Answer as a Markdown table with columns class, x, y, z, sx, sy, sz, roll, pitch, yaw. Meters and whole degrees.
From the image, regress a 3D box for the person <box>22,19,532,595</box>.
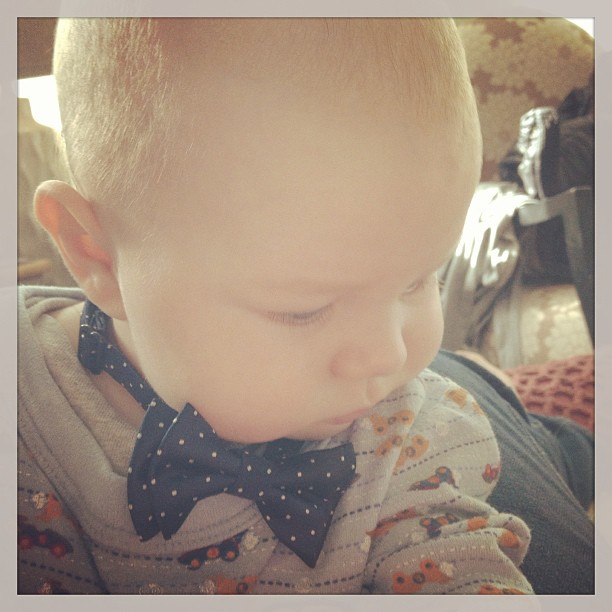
| class | x | y | z | sx | sy | sz | roll | pitch | yaw |
| --- | --- | --- | --- | --- | --- | --- | --- | --- | --- |
| person | -0.064 | -0.017 | 1.356 | 0.463 | 0.732 | 0.813 | 11 | 17 | 42 |
